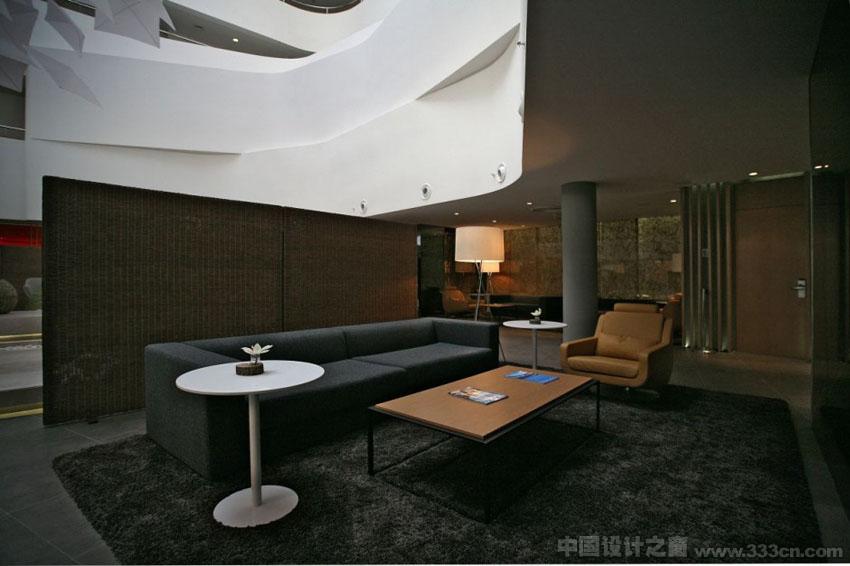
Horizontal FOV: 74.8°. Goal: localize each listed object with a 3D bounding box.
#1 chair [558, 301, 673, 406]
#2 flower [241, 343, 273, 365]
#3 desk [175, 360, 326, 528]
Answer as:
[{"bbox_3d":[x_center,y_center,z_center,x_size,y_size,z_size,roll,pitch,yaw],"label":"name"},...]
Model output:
[{"bbox_3d":[2.546,0.860,7.282,1.436,1.154,1.453,2,0,10],"label":"chair"},{"bbox_3d":[-1.759,0.727,5.783,0.278,0.147,0.276,-2,4,5],"label":"flower"},{"bbox_3d":[-1.649,1.367,5.530,1.402,1.343,1.380,-2,3,-16],"label":"desk"}]
